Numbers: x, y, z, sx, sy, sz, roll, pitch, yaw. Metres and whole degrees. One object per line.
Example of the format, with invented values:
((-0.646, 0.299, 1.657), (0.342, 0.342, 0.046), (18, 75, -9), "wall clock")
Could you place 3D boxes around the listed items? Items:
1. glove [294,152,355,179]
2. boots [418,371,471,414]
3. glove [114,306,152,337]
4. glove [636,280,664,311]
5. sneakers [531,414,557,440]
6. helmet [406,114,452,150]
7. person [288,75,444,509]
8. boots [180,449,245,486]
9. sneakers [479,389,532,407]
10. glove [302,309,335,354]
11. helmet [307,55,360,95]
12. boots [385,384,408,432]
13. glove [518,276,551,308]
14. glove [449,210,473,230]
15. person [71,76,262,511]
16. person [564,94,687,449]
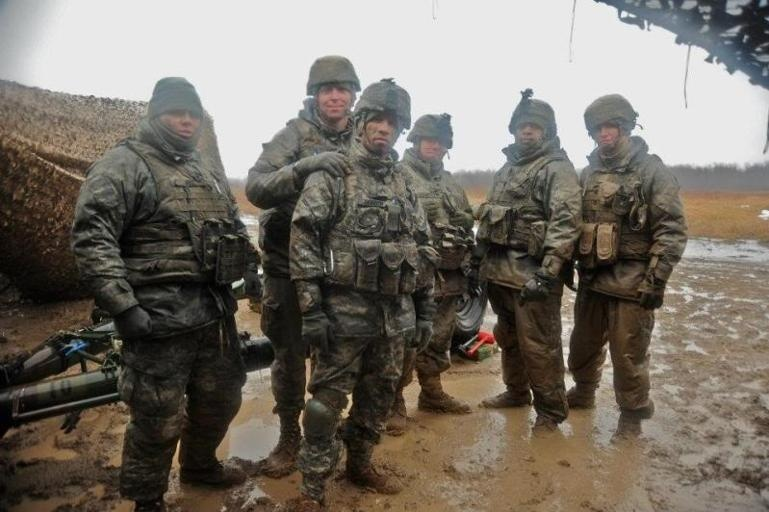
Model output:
((-0.568, -0.837, 4.973), (0.437, 0.236, 0.171), (-1, -16, 11), "glove")
((0.660, 1.724, 6.675), (0.822, 0.553, 0.316), (0, 2, 1), "boots")
((-2.178, 0.581, 4.626), (0.298, 0.319, 0.151), (-6, 13, -24), "glove")
((2.920, 0.443, 5.912), (0.247, 0.226, 0.310), (1, -4, 7), "glove")
((1.854, 1.930, 6.085), (0.314, 0.184, 0.245), (1, 12, 7), "sneakers")
((0.555, -1.622, 6.426), (0.458, 0.265, 0.433), (-7, 17, -9), "helmet")
((-0.245, 0.364, 4.968), (1.615, 3.967, 0.645), (-10, 16, -37), "person")
((-1.654, 2.148, 5.439), (0.760, 0.321, 0.261), (2, -1, -15), "boots")
((1.513, 1.765, 6.724), (0.682, 0.268, 0.224), (2, 0, 2), "sneakers")
((-0.598, 0.687, 4.770), (0.167, 0.356, 0.268), (-27, 20, -33), "glove")
((-0.521, -1.922, 5.680), (0.633, 0.356, 0.586), (-7, 7, -16), "helmet")
((0.139, 1.787, 6.265), (0.268, 0.533, 0.577), (-3, 9, 4), "boots")
((1.661, 0.385, 5.868), (0.349, 0.166, 0.265), (-39, -29, 18), "glove")
((0.947, -0.440, 6.565), (0.221, 0.240, 0.279), (3, -3, -15), "glove")
((-1.988, 0.351, 4.957), (1.381, 3.960, 0.763), (-13, 17, -42), "person")
((2.773, 0.066, 6.126), (1.161, 3.770, 0.853), (7, 15, 31), "person")
